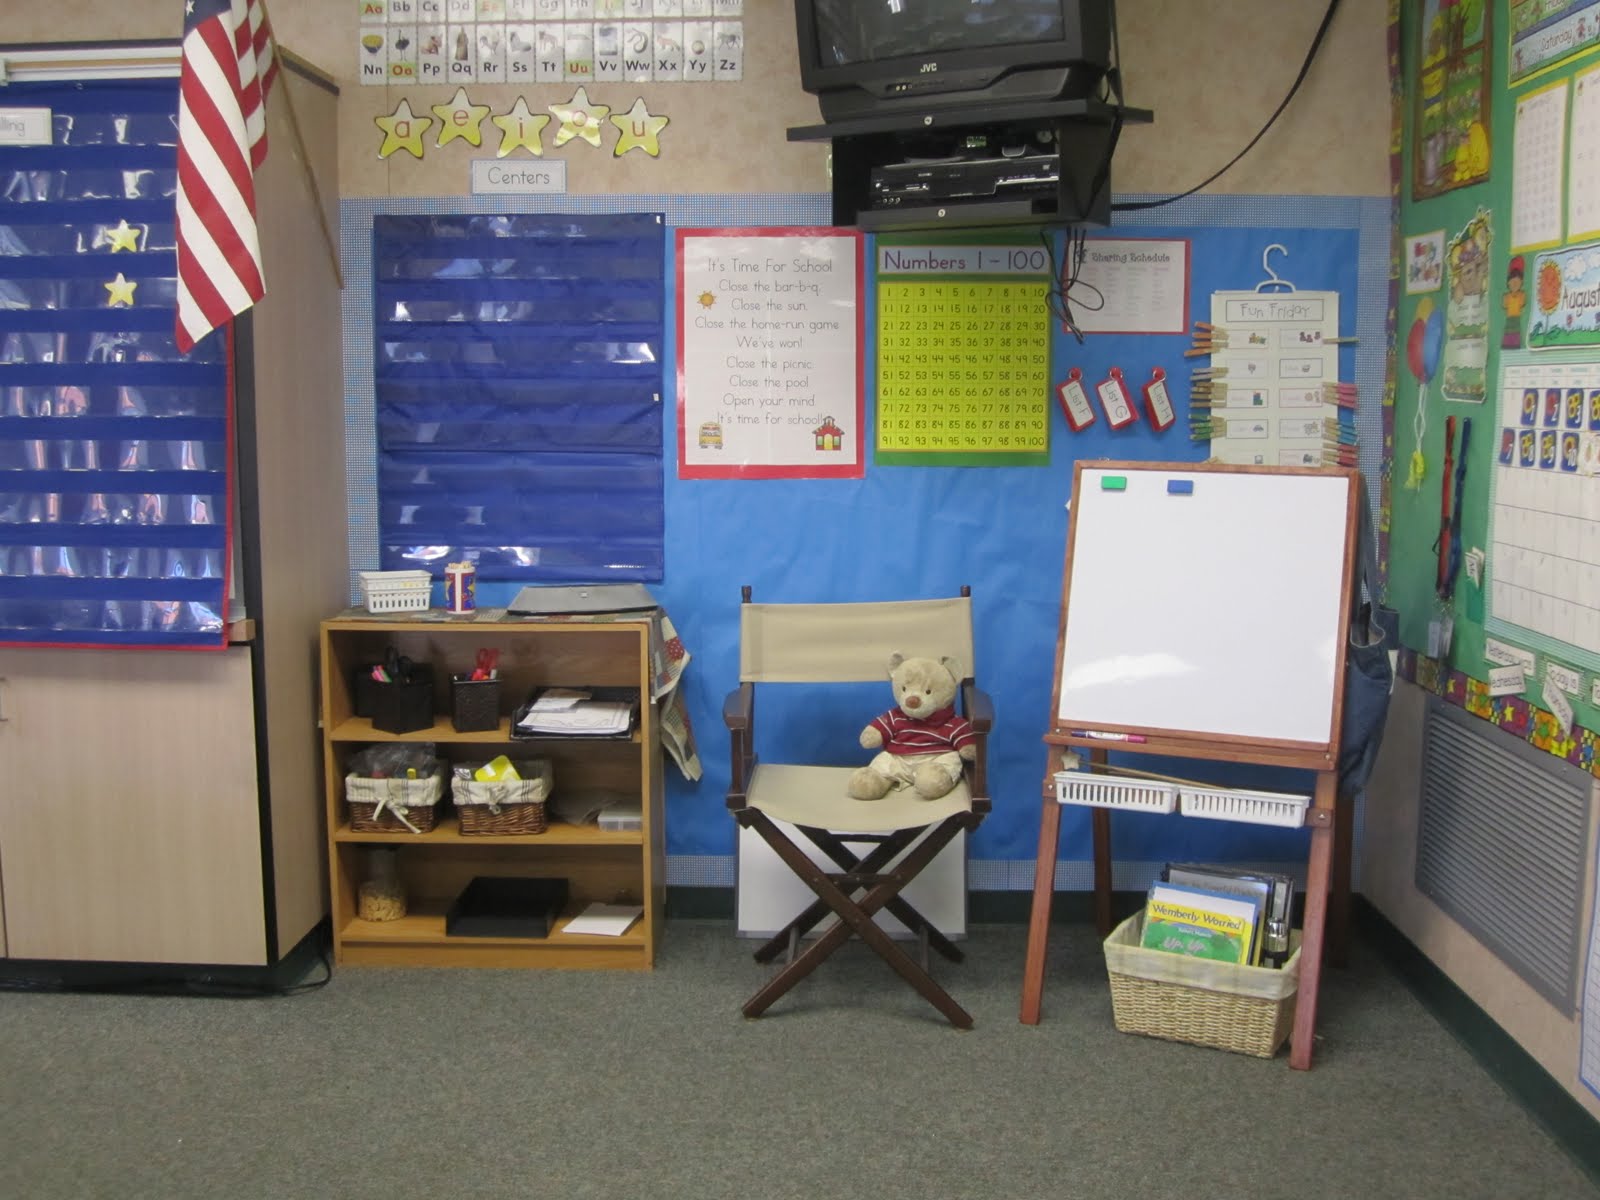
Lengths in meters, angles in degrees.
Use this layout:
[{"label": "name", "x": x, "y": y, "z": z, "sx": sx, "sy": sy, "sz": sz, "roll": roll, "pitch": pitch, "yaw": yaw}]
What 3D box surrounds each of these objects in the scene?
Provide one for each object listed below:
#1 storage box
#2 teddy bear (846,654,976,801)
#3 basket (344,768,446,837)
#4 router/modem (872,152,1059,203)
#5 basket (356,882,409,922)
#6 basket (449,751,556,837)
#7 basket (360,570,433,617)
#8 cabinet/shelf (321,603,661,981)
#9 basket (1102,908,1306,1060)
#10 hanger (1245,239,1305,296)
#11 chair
[{"label": "storage box", "x": 1.114, "y": 1.059, "z": 3.934, "sx": 0.421, "sy": 0.227, "sz": 0.323, "roll": 2, "pitch": 3, "yaw": 17}, {"label": "teddy bear", "x": 0.354, "y": 0.376, "z": 4.267, "sx": 0.360, "sy": 0.435, "sz": 0.346, "roll": 4, "pitch": 15, "yaw": 18}, {"label": "basket", "x": -1.260, "y": 0.625, "z": 4.388, "sx": 0.203, "sy": 0.135, "sz": 0.211, "roll": 1, "pitch": 6, "yaw": -7}, {"label": "router/modem", "x": 0.478, "y": -1.219, "z": 4.062, "sx": 0.548, "sy": 0.133, "sz": 0.082, "roll": 1, "pitch": 12, "yaw": 14}, {"label": "basket", "x": -1.349, "y": 0.954, "z": 4.509, "sx": 0.108, "sy": 0.079, "sz": 0.108, "roll": 3, "pitch": 0, "yaw": -34}, {"label": "basket", "x": -0.934, "y": 0.607, "z": 4.461, "sx": 0.271, "sy": 0.182, "sz": 0.216, "roll": 1, "pitch": 3, "yaw": 3}, {"label": "basket", "x": -1.282, "y": -0.034, "z": 4.492, "sx": 0.156, "sy": 0.102, "sz": 0.161, "roll": 1, "pitch": 2, "yaw": -14}, {"label": "cabinet/shelf", "x": -0.980, "y": 0.574, "z": 4.452, "sx": 1.041, "sy": 1.138, "sz": 0.420, "roll": -1, "pitch": 3, "yaw": -4}, {"label": "basket", "x": 1.189, "y": 1.071, "z": 4.097, "sx": 0.526, "sy": 0.281, "sz": 0.410, "roll": 1, "pitch": 14, "yaw": 35}, {"label": "hanger", "x": 1.513, "y": -1.072, "z": 4.483, "sx": 0.162, "sy": 0.187, "sz": 0.014, "roll": 1, "pitch": 13, "yaw": 8}, {"label": "chair", "x": 0.150, "y": 0.573, "z": 4.514, "sx": 1.068, "sy": 1.751, "sz": 1.065, "roll": 0, "pitch": 1, "yaw": 1}]
